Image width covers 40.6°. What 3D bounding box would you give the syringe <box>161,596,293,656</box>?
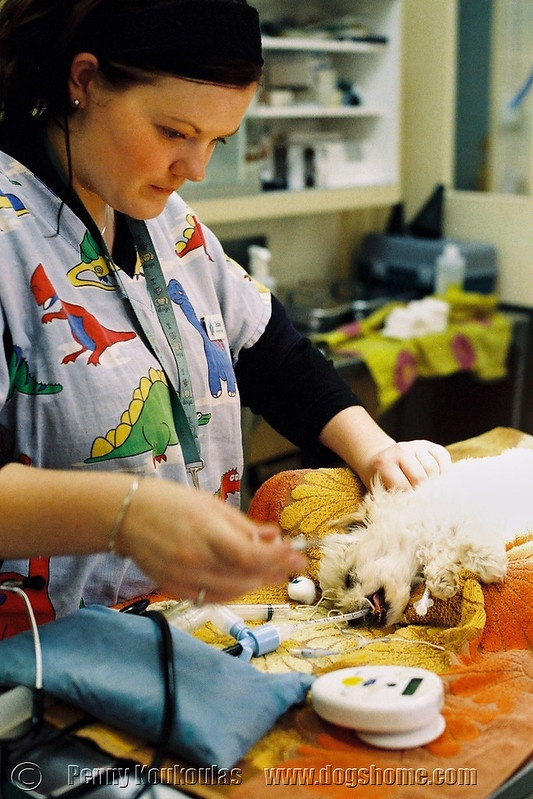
[{"bbox_3d":[-0.024,0.198,0.680,0.066,0.022,0.066,8,11,41],"label":"syringe"}]

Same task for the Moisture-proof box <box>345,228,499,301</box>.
[{"bbox_3d":[0.360,-0.344,1.921,0.275,0.160,0.352,-8,14,-35],"label":"Moisture-proof box"}]

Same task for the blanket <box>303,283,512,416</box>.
[{"bbox_3d":[0.479,-0.181,2.209,0.461,0.211,0.426,-4,13,37],"label":"blanket"}]
